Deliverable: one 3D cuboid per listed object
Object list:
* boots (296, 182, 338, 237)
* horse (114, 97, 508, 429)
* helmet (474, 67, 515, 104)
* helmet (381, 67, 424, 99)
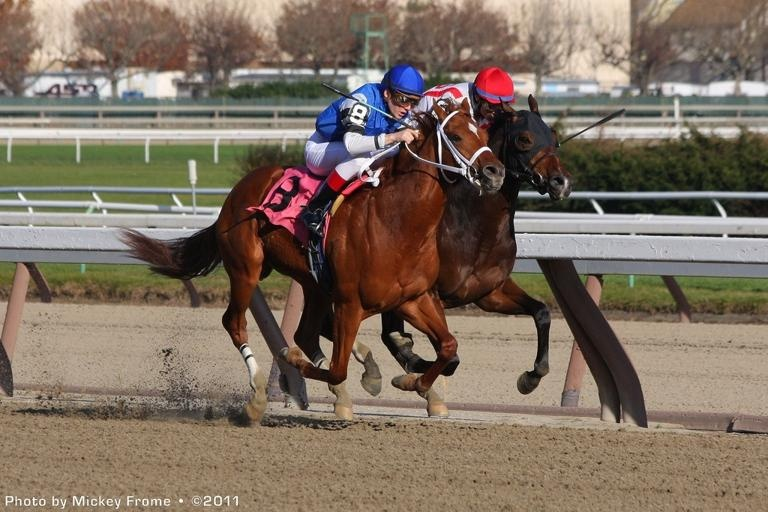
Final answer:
[{"bbox_3d":[-0.506,-0.414,12.457,0.159,0.345,0.500,16,29,-22],"label":"boots"},{"bbox_3d":[-0.683,0.005,12.978,3.364,2.608,1.136,6,7,30],"label":"horse"},{"bbox_3d":[0.855,-1.348,12.671,0.396,0.251,0.339,3,21,-4],"label":"helmet"},{"bbox_3d":[0.119,-1.335,12.507,0.394,0.246,0.303,4,-5,-10],"label":"helmet"}]
